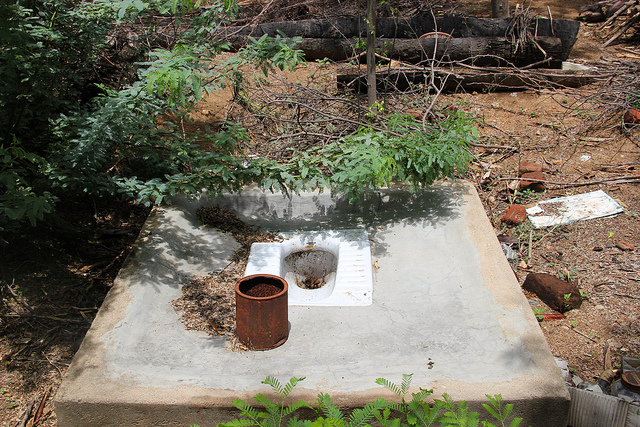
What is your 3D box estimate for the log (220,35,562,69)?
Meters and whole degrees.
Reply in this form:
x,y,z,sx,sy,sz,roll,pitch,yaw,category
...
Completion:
x,y,z,sx,sy,sz,roll,pitch,yaw,category
1.892,-3.344,10.211,5.652,0.622,0.550,10,47,25,log
